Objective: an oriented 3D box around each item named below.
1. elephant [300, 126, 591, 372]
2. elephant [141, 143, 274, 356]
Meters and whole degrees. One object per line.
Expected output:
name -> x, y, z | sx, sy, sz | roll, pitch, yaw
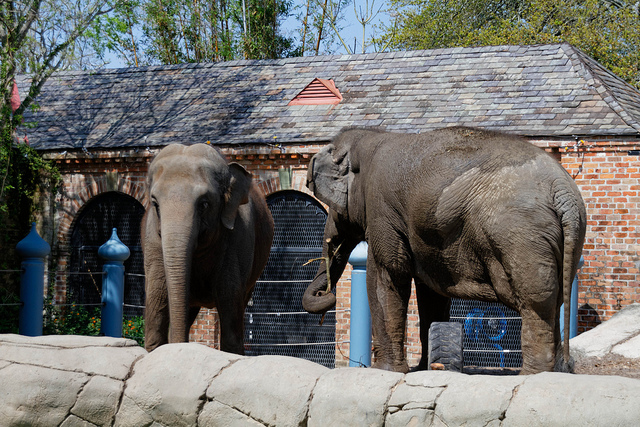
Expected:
elephant -> 1.395, 0.462, 12.392 | 4.203, 3.068, 1.943 | 2, 5, 40
elephant -> -1.475, 0.561, 13.029 | 1.349, 2.753, 3.046 | -7, -13, 40
